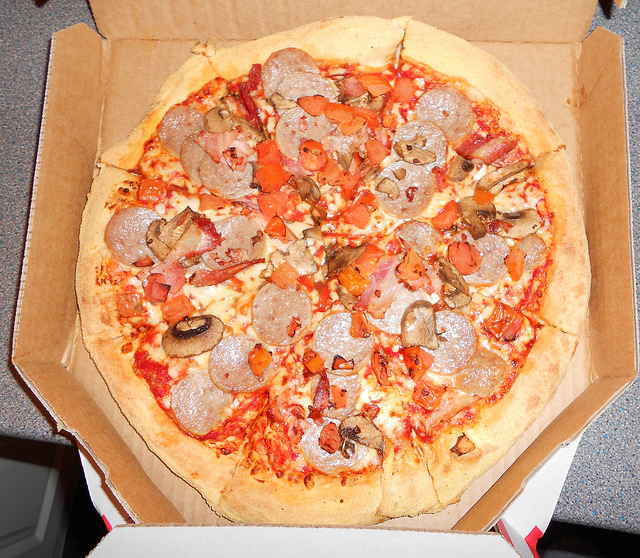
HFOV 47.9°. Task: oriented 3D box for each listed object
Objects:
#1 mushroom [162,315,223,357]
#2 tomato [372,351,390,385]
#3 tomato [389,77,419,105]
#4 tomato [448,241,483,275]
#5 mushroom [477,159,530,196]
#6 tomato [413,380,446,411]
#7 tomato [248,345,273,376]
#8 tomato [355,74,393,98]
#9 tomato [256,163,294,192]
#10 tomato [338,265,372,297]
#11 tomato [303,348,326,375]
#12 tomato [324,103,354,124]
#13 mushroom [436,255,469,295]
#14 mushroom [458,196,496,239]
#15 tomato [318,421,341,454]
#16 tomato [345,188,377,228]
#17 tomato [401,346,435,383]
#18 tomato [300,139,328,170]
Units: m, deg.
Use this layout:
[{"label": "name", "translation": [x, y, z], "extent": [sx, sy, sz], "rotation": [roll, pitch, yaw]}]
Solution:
[{"label": "mushroom", "translation": [-0.548, 0.244, 3.091], "extent": [0.267, 0.044, 0.160], "rotation": [-26, 82, -2]}, {"label": "tomato", "translation": [0.253, 0.376, 3.062], "extent": [0.030, 0.083, 0.118], "rotation": [-13, 85, 45]}, {"label": "tomato", "translation": [0.368, -0.832, 3.201], "extent": [0.120, 0.034, 0.109], "rotation": [30, 95, -5]}, {"label": "tomato", "translation": [0.619, -0.086, 3.063], "extent": [0.124, 0.039, 0.143], "rotation": [-31, 84, -2]}, {"label": "mushroom", "translation": [0.798, -0.444, 3.153], "extent": [0.253, 0.054, 0.093], "rotation": [-32, 83, -3]}, {"label": "tomato", "translation": [0.454, 0.494, 3.066], "extent": [0.114, 0.038, 0.103], "rotation": [24, 84, 5]}, {"label": "tomato", "translation": [-0.259, 0.348, 3.081], "extent": [0.095, 0.044, 0.123], "rotation": [-10, 82, 1]}, {"label": "tomato", "translation": [0.240, -0.863, 3.191], "extent": [0.111, 0.032, 0.109], "rotation": [-35, 72, -33]}, {"label": "tomato", "translation": [-0.204, -0.443, 3.129], "extent": [0.142, 0.047, 0.119], "rotation": [-22, 82, -1]}, {"label": "tomato", "translation": [0.138, 0.011, 3.076], "extent": [0.133, 0.053, 0.098], "rotation": [45, 86, 7]}, {"label": "tomato", "translation": [-0.026, 0.361, 3.074], "extent": [0.081, 0.026, 0.104], "rotation": [-37, 74, 13]}, {"label": "tomato", "translation": [0.079, -0.722, 3.145], "extent": [0.132, 0.036, 0.088], "rotation": [5, 83, 2]}, {"label": "mushroom", "translation": [0.557, -0.021, 3.117], "extent": [0.071, 0.062, 0.207], "rotation": [-37, 72, -25]}, {"label": "mushroom", "translation": [0.676, -0.269, 3.154], "extent": [0.163, 0.050, 0.171], "rotation": [-10, 85, 0]}, {"label": "tomato", "translation": [0.036, 0.671, 3.027], "extent": [0.110, 0.032, 0.128], "rotation": [1, 82, 4]}, {"label": "tomato", "translation": [0.177, -0.311, 3.173], "extent": [0.123, 0.037, 0.169], "rotation": [16, 91, 7]}, {"label": "tomato", "translation": [0.424, 0.354, 3.050], "extent": [0.122, 0.059, 0.144], "rotation": [-19, 82, -1]}, {"label": "tomato", "translation": [-0.028, -0.542, 3.141], "extent": [0.113, 0.065, 0.125], "rotation": [-3, 82, 2]}]
